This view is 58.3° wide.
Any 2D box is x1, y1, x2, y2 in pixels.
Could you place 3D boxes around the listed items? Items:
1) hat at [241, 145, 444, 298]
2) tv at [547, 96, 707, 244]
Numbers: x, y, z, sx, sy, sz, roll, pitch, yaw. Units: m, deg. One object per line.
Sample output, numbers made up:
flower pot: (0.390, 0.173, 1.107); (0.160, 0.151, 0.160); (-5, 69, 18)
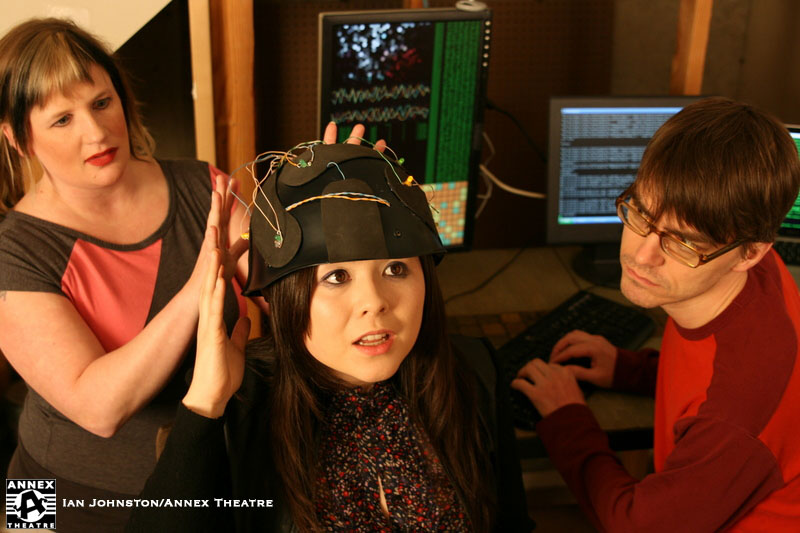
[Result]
hat: (-0.141, -0.103, 1.560); (0.359, 0.273, 0.359); (-12, 17, -1)
tv: (0.633, -0.302, 2.025); (0.477, 0.472, 0.169); (-2, 15, -4)
